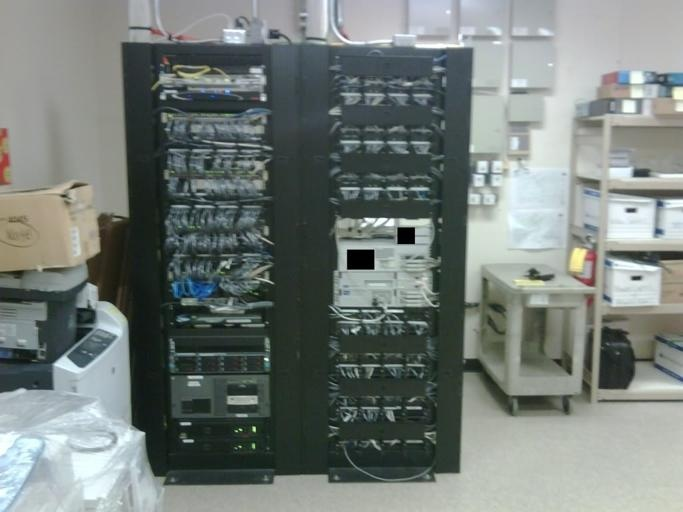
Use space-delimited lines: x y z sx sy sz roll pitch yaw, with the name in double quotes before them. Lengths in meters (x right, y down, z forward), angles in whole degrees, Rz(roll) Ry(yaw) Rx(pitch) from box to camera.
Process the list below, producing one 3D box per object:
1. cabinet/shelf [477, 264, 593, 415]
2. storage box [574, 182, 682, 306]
"cabinet/shelf" 1.321 0.551 4.592 0.592 0.737 0.954 1 2 5
"storage box" 1.800 -0.114 4.400 0.752 0.790 0.513 7 19 33
